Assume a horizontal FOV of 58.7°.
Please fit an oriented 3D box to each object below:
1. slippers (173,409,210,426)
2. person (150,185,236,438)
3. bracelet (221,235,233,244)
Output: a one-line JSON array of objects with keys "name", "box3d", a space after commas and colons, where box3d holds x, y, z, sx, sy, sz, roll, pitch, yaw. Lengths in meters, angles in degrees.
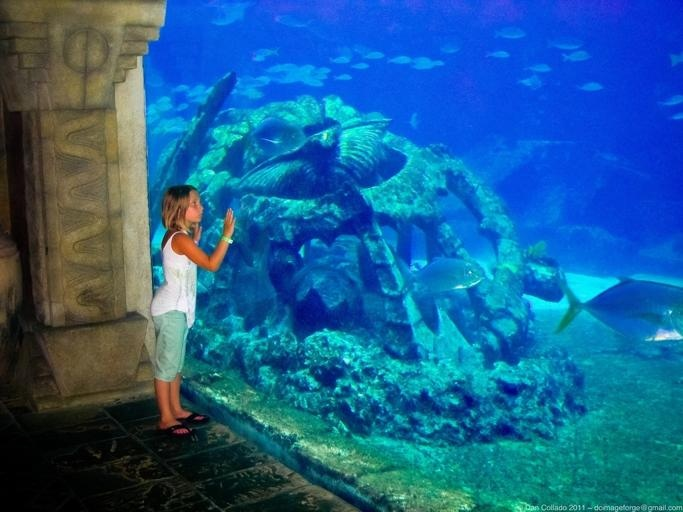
[{"name": "slippers", "box3d": [-1.725, 1.897, 7.112, 0.341, 0.089, 0.144, -1, 3, 11]}, {"name": "person", "box3d": [-1.768, 0.597, 6.923, 0.790, 2.769, 0.807, -3, 15, -17]}, {"name": "bracelet", "box3d": [-1.245, -0.156, 6.622, 0.106, 0.077, 0.118, 16, 4, -22]}]
